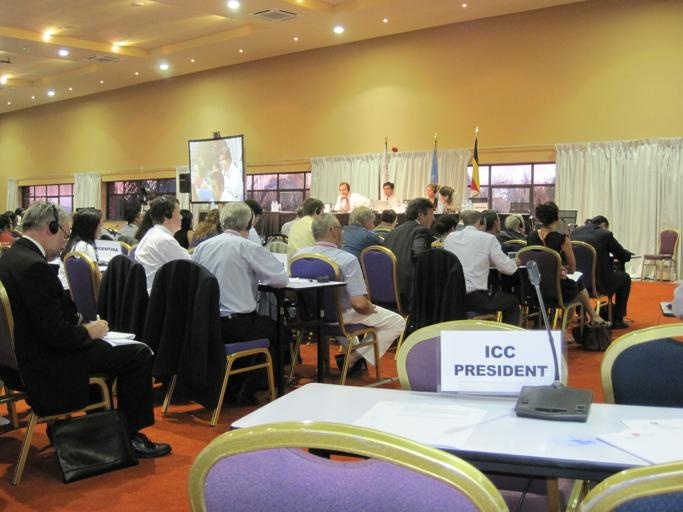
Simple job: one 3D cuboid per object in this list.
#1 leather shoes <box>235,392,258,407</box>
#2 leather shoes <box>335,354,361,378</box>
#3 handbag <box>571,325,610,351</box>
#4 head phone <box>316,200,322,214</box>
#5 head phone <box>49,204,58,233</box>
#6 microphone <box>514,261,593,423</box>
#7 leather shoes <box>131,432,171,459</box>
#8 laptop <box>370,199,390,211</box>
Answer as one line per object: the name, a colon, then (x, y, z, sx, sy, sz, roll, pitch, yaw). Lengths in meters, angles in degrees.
leather shoes: (-0.748, 1.119, 4.348, 0.167, 0.180, 0.082, 2, -2, -35)
leather shoes: (0.087, 1.018, 5.242, 0.113, 0.265, 0.346, 5, 11, 34)
handbag: (2.733, 0.903, 6.007, 0.455, 0.266, 0.574, 0, 2, 26)
head phone: (-0.268, -0.595, 6.704, 0.106, 0.165, 0.152, 0, 0, -9)
head phone: (-1.694, -0.216, 3.242, 0.054, 0.175, 0.142, -3, 7, -22)
microphone: (0.679, 0.359, 1.755, 0.218, 0.283, 0.192, 1, 4, 26)
leather shoes: (-1.178, 1.169, 3.388, 0.199, 0.082, 0.129, 1, 2, 8)
laptop: (0.826, -1.094, 11.998, 0.335, 0.305, 0.489, 0, 1, 17)
